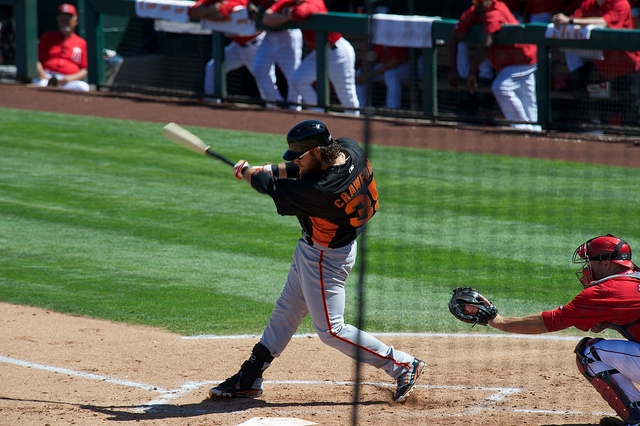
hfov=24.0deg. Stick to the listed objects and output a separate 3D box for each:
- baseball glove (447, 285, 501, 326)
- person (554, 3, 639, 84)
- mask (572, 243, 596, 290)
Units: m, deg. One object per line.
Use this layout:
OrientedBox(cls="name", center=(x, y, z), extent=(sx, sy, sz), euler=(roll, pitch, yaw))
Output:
OrientedBox(cls="baseball glove", center=(1.625, 0.969, 16.061), extent=(0.539, 0.246, 0.412), euler=(12, -29, 15))
OrientedBox(cls="person", center=(3.682, -2.251, 19.799), extent=(1.107, 1.002, 0.434), euler=(8, 3, 11))
OrientedBox(cls="mask", center=(2.829, 0.559, 16.086), extent=(0.330, 0.407, 0.326), euler=(0, 3, 16))
